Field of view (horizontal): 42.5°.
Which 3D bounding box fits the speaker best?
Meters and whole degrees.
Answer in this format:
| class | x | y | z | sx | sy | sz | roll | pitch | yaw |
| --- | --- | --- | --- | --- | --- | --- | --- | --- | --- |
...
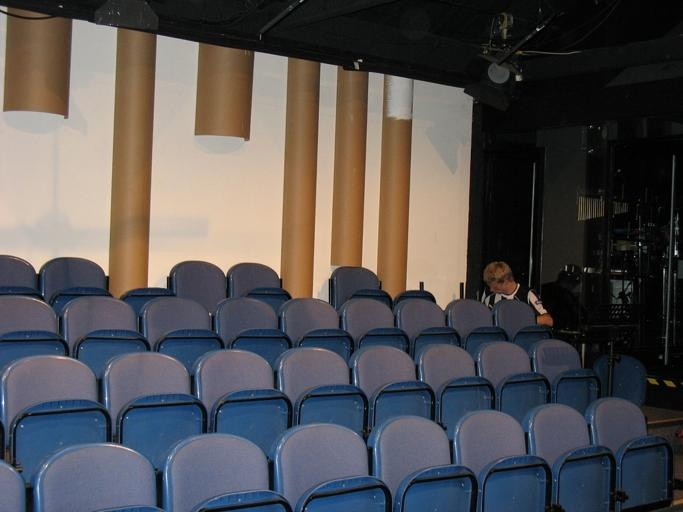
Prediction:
| class | x | y | z | sx | sy | sz | roll | pitch | yaw |
| --- | --- | --- | --- | --- | --- | --- | --- | --- | --- |
| speaker | 1.450 | -1.660 | 8.367 | 0.561 | 0.520 | 0.478 | -3 | -1 | 23 |
